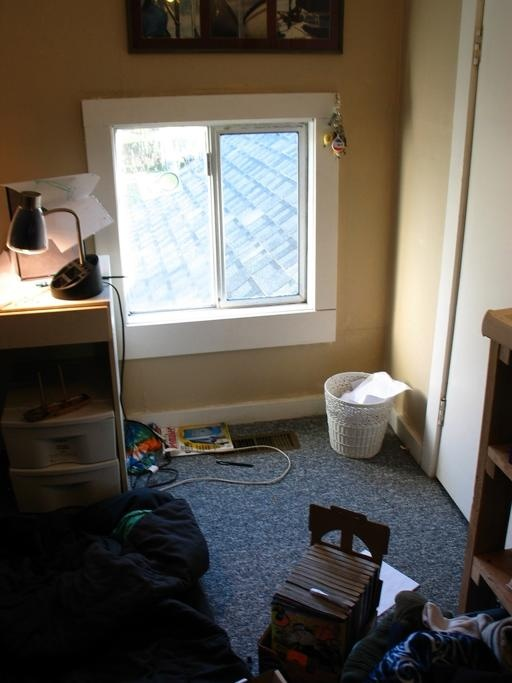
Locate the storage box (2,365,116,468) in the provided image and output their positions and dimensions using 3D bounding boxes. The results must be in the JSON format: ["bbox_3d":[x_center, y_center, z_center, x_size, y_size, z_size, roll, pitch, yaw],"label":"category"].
[{"bbox_3d":[-0.744,0.195,1.974,0.357,0.232,0.377,-8,28,-15],"label":"storage box"}]

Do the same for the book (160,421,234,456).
[{"bbox_3d":[-0.293,0.485,2.624,0.342,0.055,0.259,-8,23,-9],"label":"book"}]

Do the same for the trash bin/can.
[{"bbox_3d":[0.485,0.350,2.543,0.285,0.339,0.399,-2,22,7],"label":"trash bin/can"}]

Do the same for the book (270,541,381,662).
[{"bbox_3d":[0.168,0.590,1.266,0.247,0.253,0.196,-7,12,-37],"label":"book"}]

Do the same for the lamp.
[{"bbox_3d":[-0.708,-0.349,1.887,0.252,0.391,0.367,-8,22,-9],"label":"lamp"}]

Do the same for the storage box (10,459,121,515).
[{"bbox_3d":[-0.705,0.531,1.924,0.244,0.158,0.245,-4,6,-23],"label":"storage box"}]
